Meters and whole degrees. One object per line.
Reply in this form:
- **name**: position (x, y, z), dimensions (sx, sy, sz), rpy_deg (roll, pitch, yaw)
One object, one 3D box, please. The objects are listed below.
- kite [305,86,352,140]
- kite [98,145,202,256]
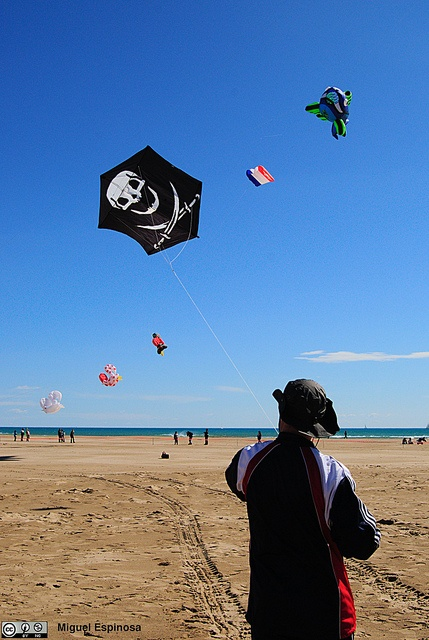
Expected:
- **kite**: position (1.545, -2.682, 8.033), dimensions (0.226, 0.687, 0.617), rpy_deg (4, -9, -37)
- **kite**: position (-0.908, -1.698, 8.715), dimensions (1.404, 1.003, 1.217), rpy_deg (0, -7, -10)
